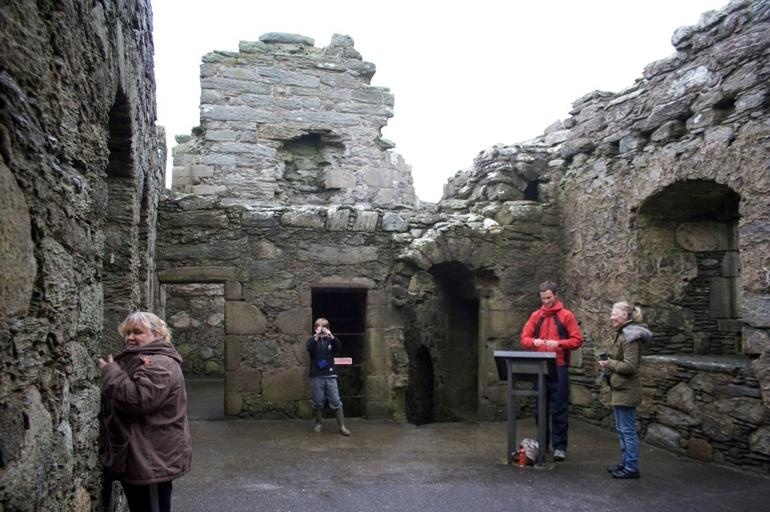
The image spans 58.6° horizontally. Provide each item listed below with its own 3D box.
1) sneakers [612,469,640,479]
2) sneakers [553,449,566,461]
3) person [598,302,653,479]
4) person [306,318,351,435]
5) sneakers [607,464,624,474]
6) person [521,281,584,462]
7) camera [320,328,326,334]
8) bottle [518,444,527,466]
[{"bbox_3d":[2.464,2.238,7.072,0.340,0.106,0.099,1,-3,8],"label":"sneakers"},{"bbox_3d":[1.932,2.201,7.602,0.122,0.128,0.077,0,-2,9],"label":"sneakers"},{"bbox_3d":[2.428,1.373,6.985,0.497,1.794,0.365,0,-2,4],"label":"person"},{"bbox_3d":[-0.793,1.666,9.666,0.579,1.572,0.742,0,-2,-5],"label":"person"},{"bbox_3d":[2.395,2.218,7.116,0.198,0.062,0.060,0,0,5],"label":"sneakers"},{"bbox_3d":[1.853,1.284,7.738,0.542,1.978,0.532,0,-2,-20],"label":"person"},{"bbox_3d":[-0.839,1.029,9.473,0.072,0.074,0.024,1,-2,-32],"label":"camera"},{"bbox_3d":[1.482,2.159,7.413,0.060,0.204,0.100,1,-2,-26],"label":"bottle"}]
